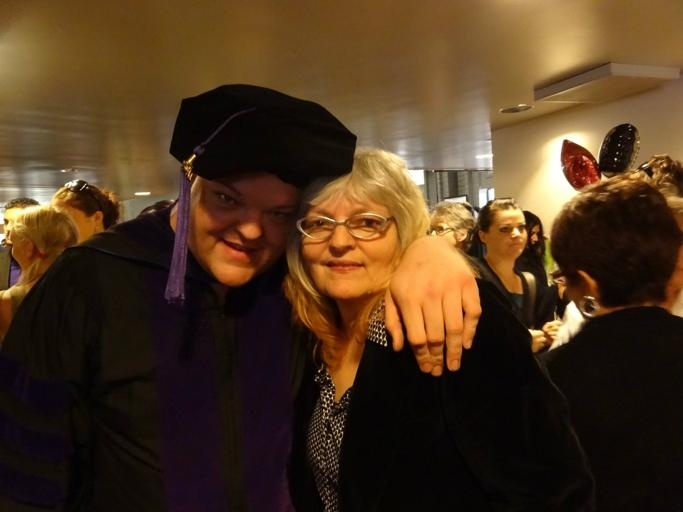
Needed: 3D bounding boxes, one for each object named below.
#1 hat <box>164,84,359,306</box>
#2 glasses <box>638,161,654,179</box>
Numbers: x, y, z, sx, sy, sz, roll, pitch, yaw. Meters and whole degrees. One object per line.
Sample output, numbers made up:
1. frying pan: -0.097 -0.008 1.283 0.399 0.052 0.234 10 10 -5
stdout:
1. hat: -0.255 -0.154 1.580 0.529 0.589 0.576 2 -1 -15
2. glasses: 1.437 -0.411 2.374 0.033 0.079 0.191 -4 11 25
